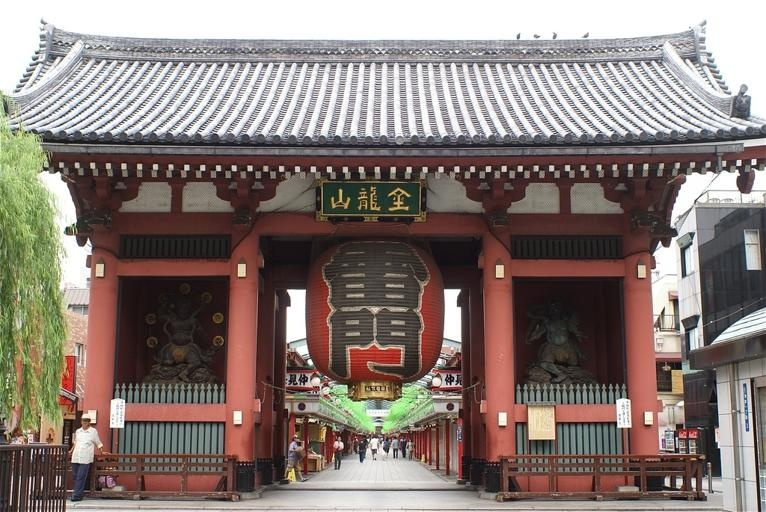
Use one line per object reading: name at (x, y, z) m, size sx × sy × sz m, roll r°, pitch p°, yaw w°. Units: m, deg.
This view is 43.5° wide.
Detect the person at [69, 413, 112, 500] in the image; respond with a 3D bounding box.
person at (-7.045, 4.701, 22.679) m, size 0.736 × 1.954 × 0.701 m, roll -1°, pitch 9°, yaw -6°

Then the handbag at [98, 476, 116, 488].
handbag at (-6.647, 5.414, 23.009) m, size 0.257 × 0.171 × 0.341 m, roll 2°, pitch -6°, yaw 11°

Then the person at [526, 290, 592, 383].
person at (4.600, 2.338, 25.671) m, size 1.576 × 2.260 × 0.504 m, roll -3°, pitch -21°, yaw 8°
